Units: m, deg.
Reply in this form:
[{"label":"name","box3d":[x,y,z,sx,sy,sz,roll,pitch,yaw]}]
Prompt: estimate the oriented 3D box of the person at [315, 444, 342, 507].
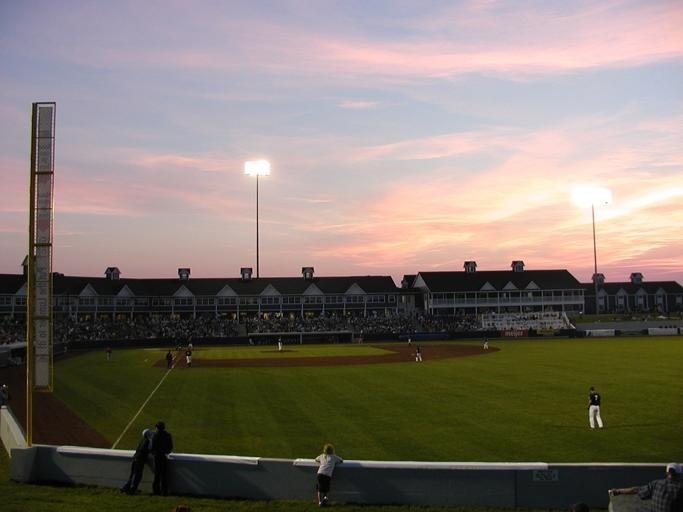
[{"label":"person","box3d":[-0.599,9.127,36.765,0.973,2.470,0.493,-2,-4,-6]}]
